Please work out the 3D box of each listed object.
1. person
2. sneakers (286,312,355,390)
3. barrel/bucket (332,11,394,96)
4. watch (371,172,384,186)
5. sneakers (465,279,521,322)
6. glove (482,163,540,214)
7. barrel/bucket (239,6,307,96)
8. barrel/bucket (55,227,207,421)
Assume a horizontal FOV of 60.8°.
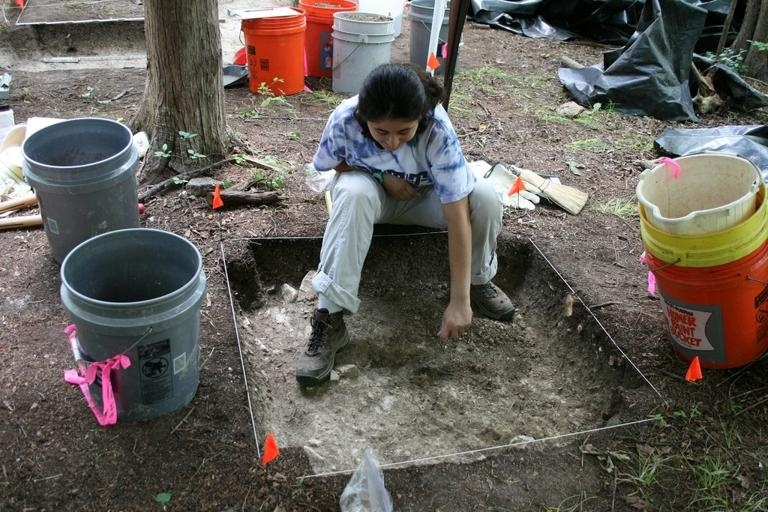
[{"bbox_3d":[0.147,-0.382,3.664,1.141,1.499,1.346,2,38,5],"label":"person"},{"bbox_3d":[-0.324,0.459,3.626,0.189,0.267,0.502,13,42,13],"label":"sneakers"},{"bbox_3d":[-0.211,-1.889,6.078,0.626,0.636,0.643,3,27,-2],"label":"barrel/bucket"},{"bbox_3d":[-0.037,-0.439,3.671,0.047,0.062,0.035,-13,5,-21],"label":"watch"},{"bbox_3d":[0.649,0.278,3.979,0.349,0.158,0.157,24,67,16],"label":"sneakers"},{"bbox_3d":[0.869,-0.447,4.604,0.313,0.124,0.410,-24,68,-26],"label":"glove"},{"bbox_3d":[-0.908,-1.867,5.891,0.670,0.680,0.768,-2,32,-6],"label":"barrel/bucket"},{"bbox_3d":[-1.258,0.364,3.193,0.725,0.760,0.705,6,31,-4],"label":"barrel/bucket"}]
